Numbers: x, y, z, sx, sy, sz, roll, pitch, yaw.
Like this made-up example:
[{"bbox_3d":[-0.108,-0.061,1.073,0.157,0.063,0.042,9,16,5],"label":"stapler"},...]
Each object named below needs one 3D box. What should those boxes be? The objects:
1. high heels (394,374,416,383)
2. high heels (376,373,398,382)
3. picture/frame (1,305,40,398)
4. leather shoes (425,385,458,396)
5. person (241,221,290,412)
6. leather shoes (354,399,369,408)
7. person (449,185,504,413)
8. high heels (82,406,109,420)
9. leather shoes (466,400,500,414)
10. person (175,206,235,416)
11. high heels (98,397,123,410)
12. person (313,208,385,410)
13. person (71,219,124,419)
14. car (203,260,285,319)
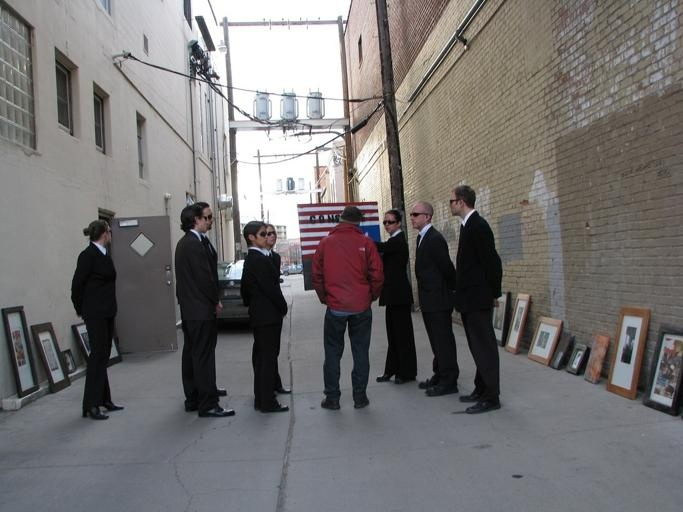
[{"bbox_3d":[0.835,1.636,6.209,0.298,0.144,0.106,5,-5,-16],"label":"high heels"},{"bbox_3d":[0.627,1.681,6.401,0.306,0.150,0.111,3,-2,-2],"label":"high heels"},{"bbox_3d":[-4.207,1.224,6.071,0.265,1.298,0.444,-3,2,-7],"label":"picture/frame"},{"bbox_3d":[1.194,1.613,5.650,0.421,0.192,0.152,2,-5,-9],"label":"leather shoes"},{"bbox_3d":[-0.901,0.693,5.418,0.542,1.643,0.371,-2,2,10],"label":"person"},{"bbox_3d":[0.239,1.685,5.342,0.204,0.063,0.139,-3,2,-12],"label":"leather shoes"},{"bbox_3d":[1.502,0.426,5.078,0.480,2.440,0.495,-2,2,6],"label":"person"},{"bbox_3d":[-2.875,1.815,5.392,0.391,0.147,0.142,-2,2,19],"label":"high heels"},{"bbox_3d":[1.523,1.598,5.006,0.381,0.172,0.147,1,-5,-14],"label":"leather shoes"},{"bbox_3d":[-1.648,0.608,5.437,0.432,2.062,0.641,-4,2,-40],"label":"person"},{"bbox_3d":[-2.773,1.803,5.694,0.358,0.176,0.124,6,-5,-20],"label":"high heels"},{"bbox_3d":[0.080,0.575,5.403,0.817,2.327,0.344,-2,2,-1],"label":"person"},{"bbox_3d":[-2.949,0.724,5.534,0.413,2.307,0.510,-2,2,2],"label":"person"},{"bbox_3d":[-2.626,0.829,11.154,1.004,0.913,1.827,0,6,-2],"label":"car"}]
